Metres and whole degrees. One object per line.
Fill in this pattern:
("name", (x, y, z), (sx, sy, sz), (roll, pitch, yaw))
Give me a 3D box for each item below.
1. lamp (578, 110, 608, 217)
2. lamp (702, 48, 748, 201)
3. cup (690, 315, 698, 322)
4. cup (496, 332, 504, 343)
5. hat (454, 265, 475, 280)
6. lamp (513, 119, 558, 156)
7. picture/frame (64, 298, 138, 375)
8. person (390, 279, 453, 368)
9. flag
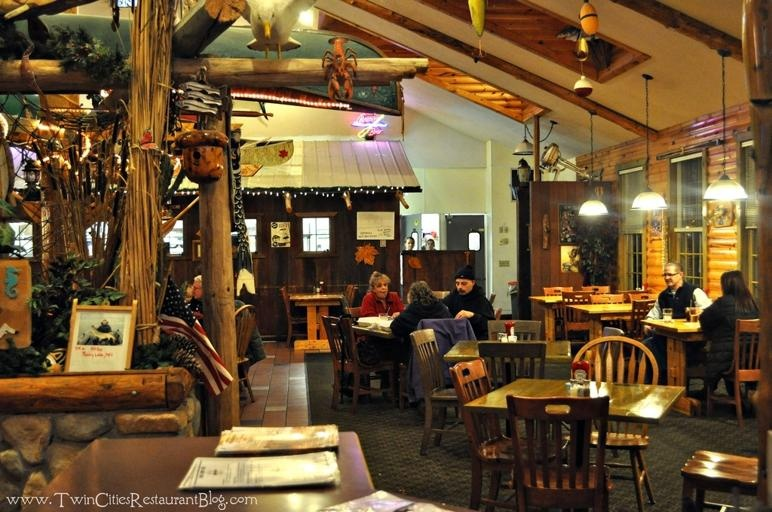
("lamp", (3.967, -1.670, 13.077), (0.464, 1.947, 3.609), (1, 5, 17))
("lamp", (4.734, -1.704, 9.468), (0.458, 1.928, 2.143), (2, 6, 28))
("cup", (3.941, 0.806, 8.797), (0.078, 0.057, 0.077), (-1, -3, 0))
("cup", (1.256, 0.895, 7.548), (0.126, 0.054, 0.179), (0, 5, 6))
("hat", (1.074, 0.222, 9.135), (0.174, 0.153, 0.241), (1, -5, 24))
("lamp", (3.054, -2.406, 14.512), (1.111, 0.784, 0.603), (3, -1, -30))
("picture/frame", (-2.201, 0.644, 5.343), (0.526, 0.665, 0.221), (2, -10, -7))
("person", (0.396, 0.783, 8.609), (0.750, 0.329, 1.014), (-4, 11, 4))
("flag", (-1.577, 0.652, 5.577), (0.545, 0.930, 0.336), (3, 6, 32))
